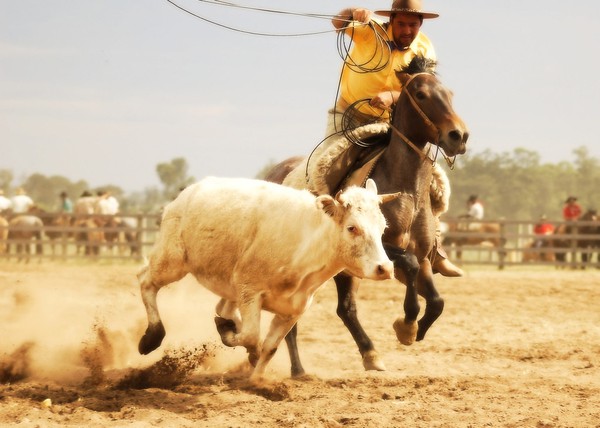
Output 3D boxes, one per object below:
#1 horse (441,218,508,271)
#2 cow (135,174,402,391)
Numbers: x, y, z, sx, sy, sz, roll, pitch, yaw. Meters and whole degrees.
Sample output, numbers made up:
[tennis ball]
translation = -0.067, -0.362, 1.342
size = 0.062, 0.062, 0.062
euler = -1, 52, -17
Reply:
[horse]
translation = 4.584, 0.723, 24.605
size = 2.347, 1.373, 0.575
euler = -1, 14, -17
[cow]
translation = -0.475, 0.923, 12.180
size = 4.108, 2.837, 1.400
euler = 10, 7, 42
